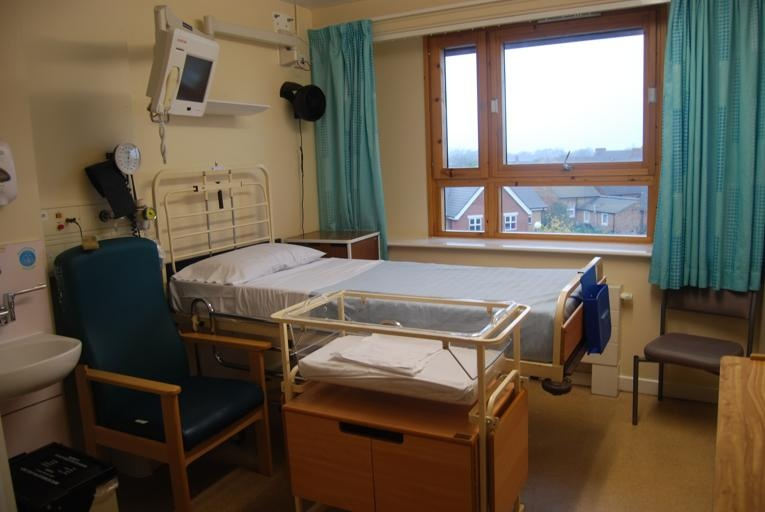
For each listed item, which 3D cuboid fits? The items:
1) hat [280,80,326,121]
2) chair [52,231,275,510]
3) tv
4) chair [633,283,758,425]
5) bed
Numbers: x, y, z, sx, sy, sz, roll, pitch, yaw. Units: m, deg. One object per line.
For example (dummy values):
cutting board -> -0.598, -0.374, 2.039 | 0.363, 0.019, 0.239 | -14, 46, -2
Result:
hat -> -0.627, -1.274, 4.755 | 0.281, 0.312, 0.308 | 2, 12, 26
chair -> -1.198, 0.610, 3.196 | 0.882, 1.364, 0.695 | 3, 13, 32
tv -> -1.137, -1.041, 3.312 | 0.248, 0.446, 0.401 | 2, 12, 25
chair -> 2.014, 0.644, 3.752 | 0.655, 0.807, 0.668 | 4, 13, 33
bed -> -0.087, 0.166, 3.776 | 2.517, 1.382, 1.390 | 4, 14, 24
